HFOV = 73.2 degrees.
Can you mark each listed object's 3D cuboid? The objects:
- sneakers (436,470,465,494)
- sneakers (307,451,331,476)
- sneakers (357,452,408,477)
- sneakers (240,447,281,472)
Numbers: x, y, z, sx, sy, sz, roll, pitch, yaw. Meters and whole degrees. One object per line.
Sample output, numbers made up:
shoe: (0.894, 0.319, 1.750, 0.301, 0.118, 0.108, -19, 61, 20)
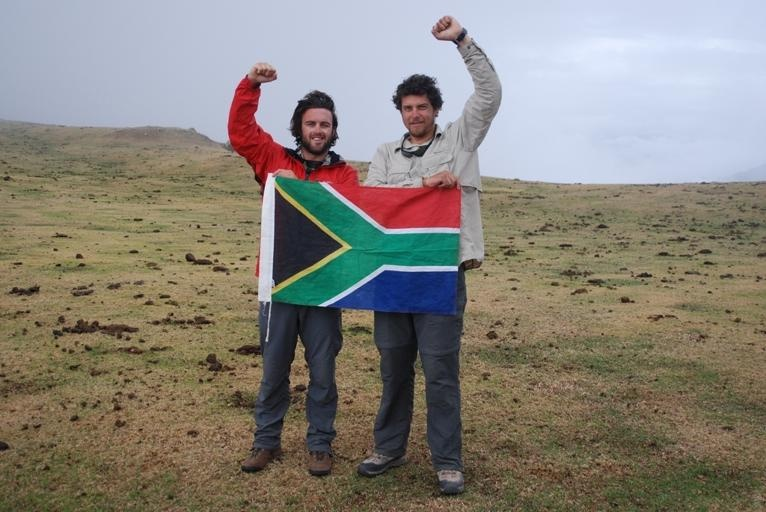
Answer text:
sneakers: (0.739, 2.446, 5.586, 0.298, 0.235, 0.187, 5, 9, 8)
sneakers: (-0.712, 2.339, 5.884, 0.292, 0.226, 0.283, 3, 9, -5)
sneakers: (-0.040, 2.364, 5.943, 0.597, 0.250, 0.208, 2, 7, -26)
sneakers: (-1.392, 2.326, 5.949, 0.434, 0.196, 0.182, 4, 5, -42)
